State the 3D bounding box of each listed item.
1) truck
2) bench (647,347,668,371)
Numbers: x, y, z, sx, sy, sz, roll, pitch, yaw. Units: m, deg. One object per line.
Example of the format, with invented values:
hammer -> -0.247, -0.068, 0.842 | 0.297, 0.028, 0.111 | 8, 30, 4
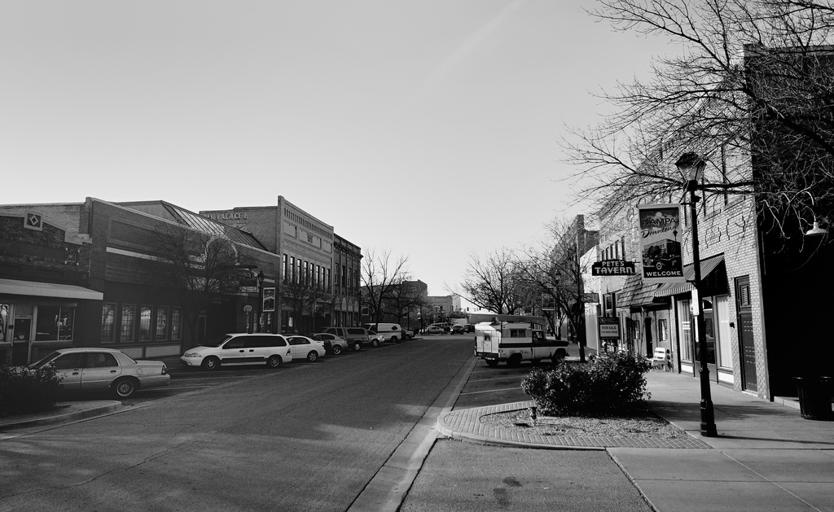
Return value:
truck -> 5.738, 4.743, 34.996 | 4.312, 2.138, 2.503 | 0, -3, -21
bench -> 11.018, 4.705, 29.142 | 0.782, 1.101, 1.543 | 1, -7, 2
